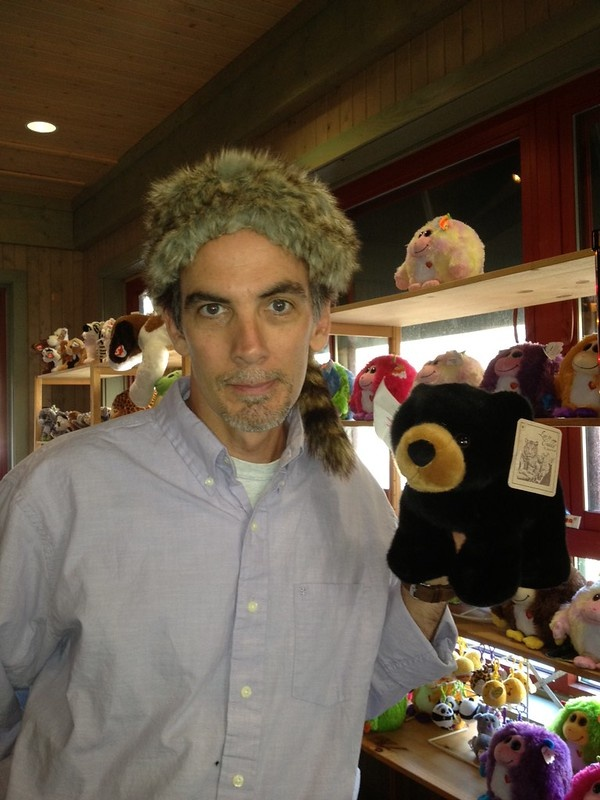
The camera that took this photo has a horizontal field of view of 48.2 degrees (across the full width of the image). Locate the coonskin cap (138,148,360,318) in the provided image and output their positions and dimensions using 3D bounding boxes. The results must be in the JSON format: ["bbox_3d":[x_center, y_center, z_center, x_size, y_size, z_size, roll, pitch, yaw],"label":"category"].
[{"bbox_3d":[-0.081,-0.247,1.128,0.290,0.211,0.320,-2,-4,-1],"label":"coonskin cap"}]

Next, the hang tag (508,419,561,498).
[{"bbox_3d":[0.309,0.075,0.907,0.075,0.099,0.073,2,10,6],"label":"hang tag"}]
